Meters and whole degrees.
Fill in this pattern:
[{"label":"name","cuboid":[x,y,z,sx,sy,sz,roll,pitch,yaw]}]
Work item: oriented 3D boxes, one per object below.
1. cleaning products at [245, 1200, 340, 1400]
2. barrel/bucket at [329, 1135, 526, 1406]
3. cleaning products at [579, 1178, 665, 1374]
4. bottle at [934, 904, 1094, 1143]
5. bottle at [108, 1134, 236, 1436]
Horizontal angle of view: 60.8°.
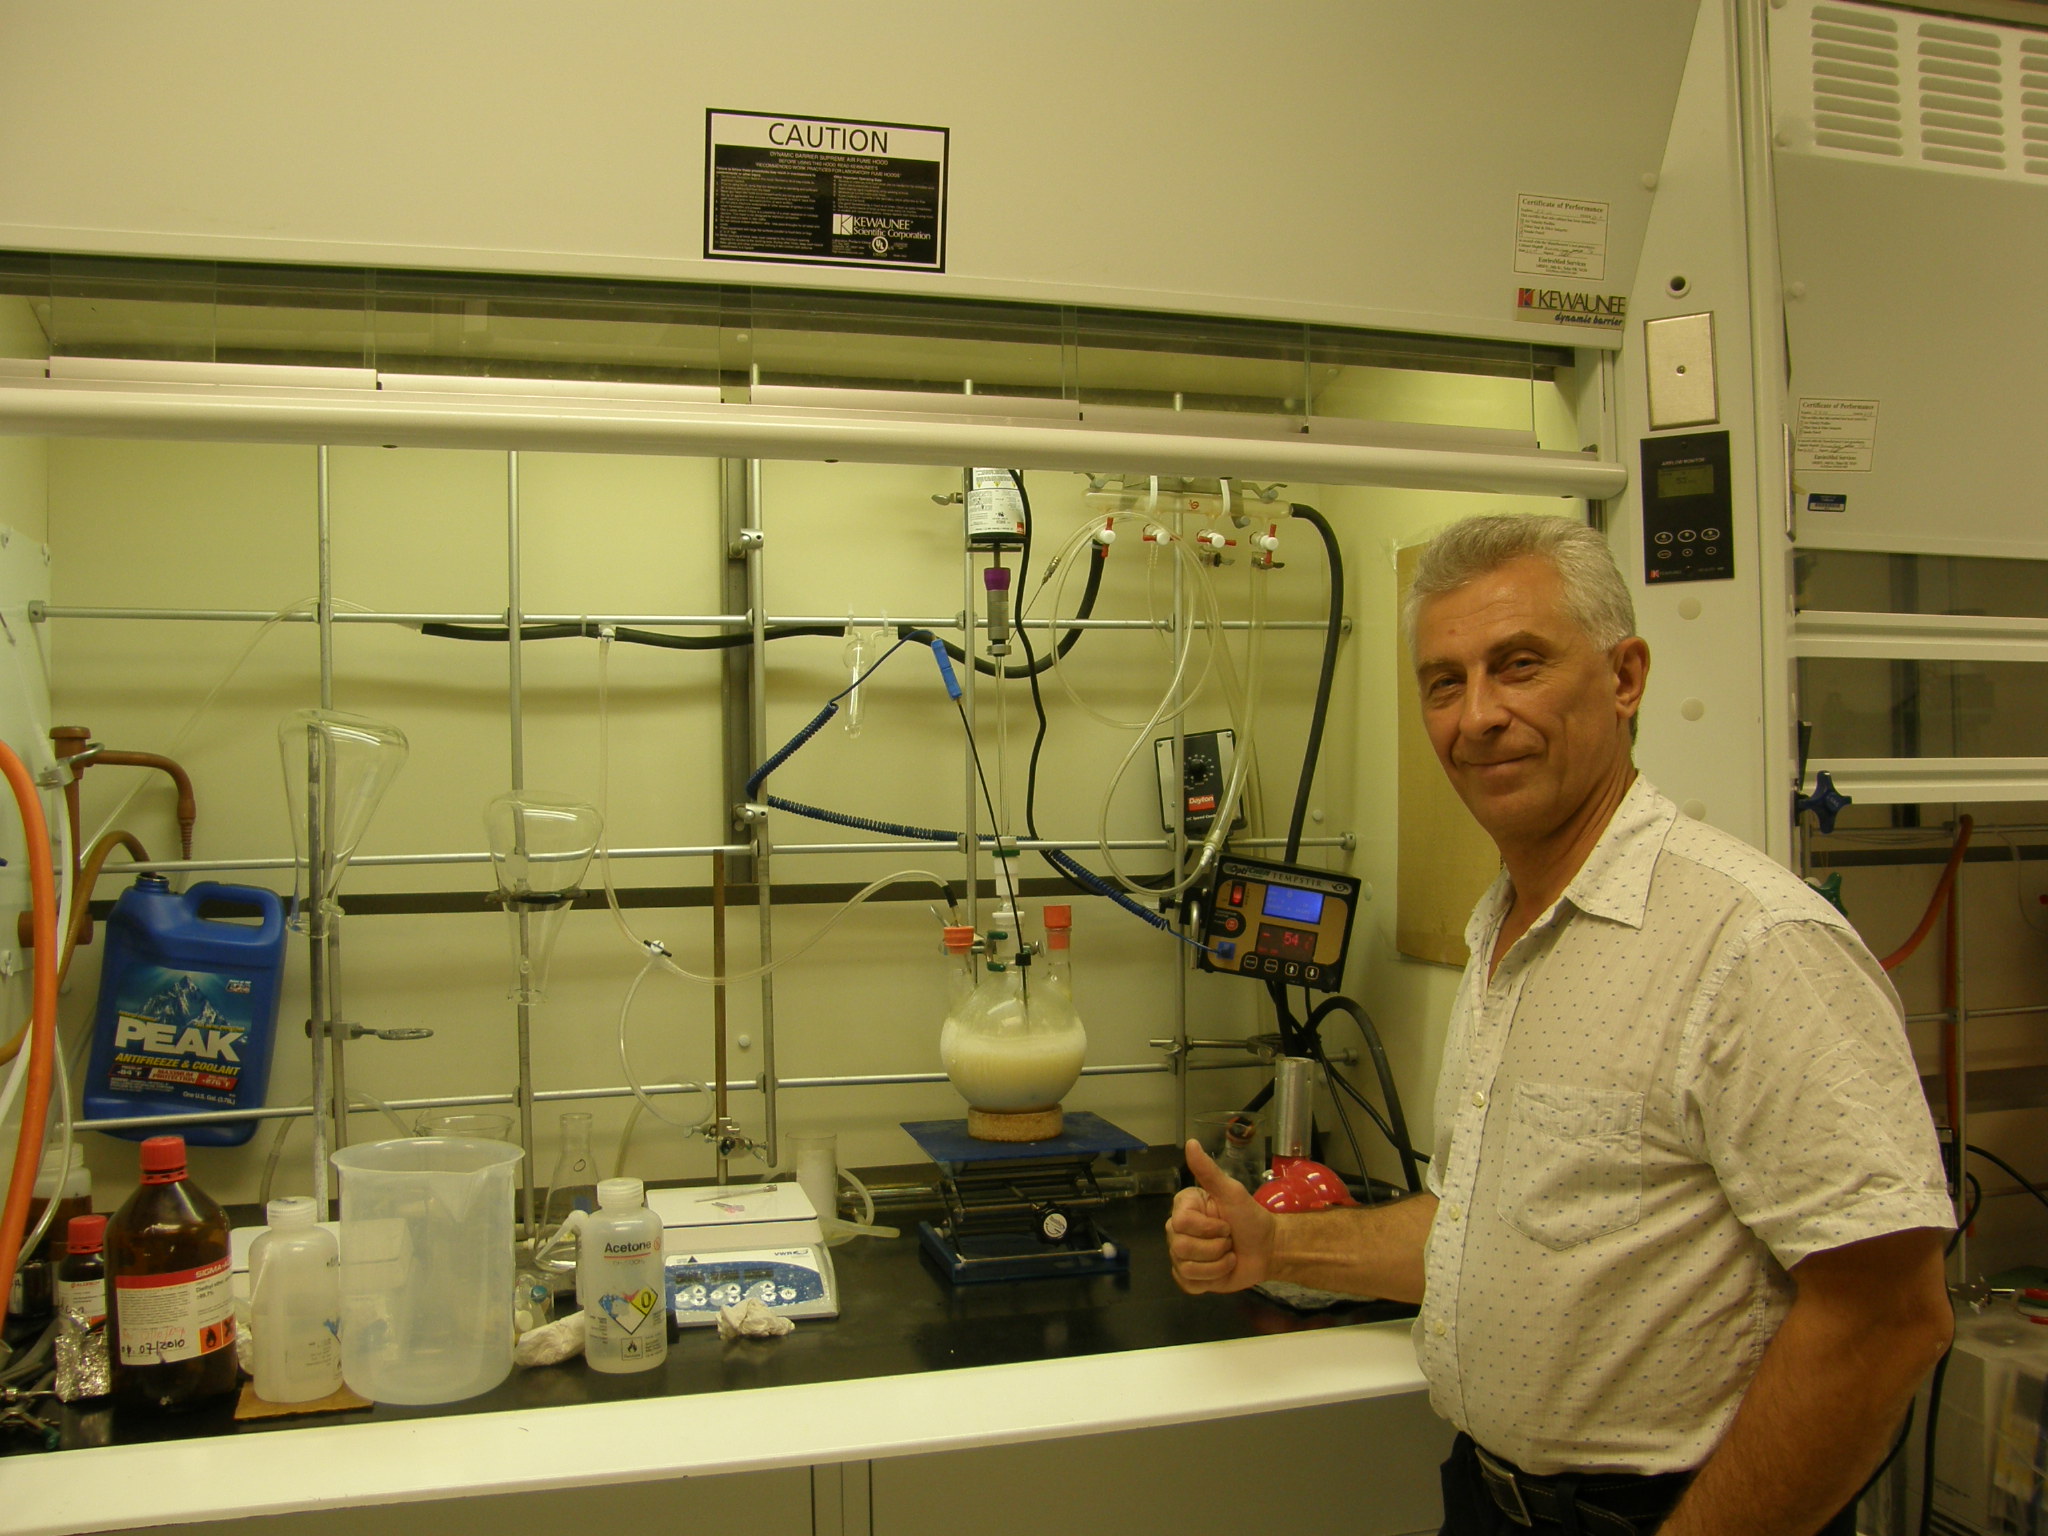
[{"label":"cleaning products","cuboid":[-1.051,0.750,2.475,0.134,0.234,0.150,-3,-1,-14]},{"label":"barrel/bucket","cuboid":[-0.829,0.724,2.523,0.262,0.334,0.319,1,-7,-8]},{"label":"cleaning products","cuboid":[-0.593,0.747,2.611,0.155,0.246,0.128,-3,-1,-34]},{"label":"bottle","cuboid":[-0.033,0.450,3.090,0.241,0.367,0.224,-3,-1,0]},{"label":"bottle","cuboid":[-1.201,0.704,2.441,0.163,0.322,0.217,-3,-1,-30]}]
